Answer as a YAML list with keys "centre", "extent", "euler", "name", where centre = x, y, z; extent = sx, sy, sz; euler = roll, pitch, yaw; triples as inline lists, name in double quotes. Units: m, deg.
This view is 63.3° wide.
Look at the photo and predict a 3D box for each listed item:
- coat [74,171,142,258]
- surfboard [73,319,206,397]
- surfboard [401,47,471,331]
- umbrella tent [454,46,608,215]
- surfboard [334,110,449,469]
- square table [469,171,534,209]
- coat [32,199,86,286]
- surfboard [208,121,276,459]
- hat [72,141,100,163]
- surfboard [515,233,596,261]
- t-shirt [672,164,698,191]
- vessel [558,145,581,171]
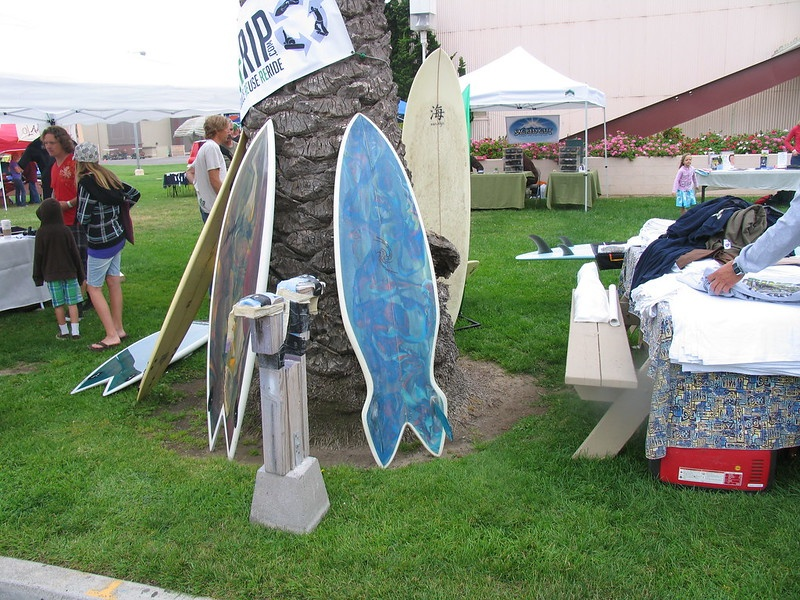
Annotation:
- centre: [-2.753, -0.895, 6.033]
  extent: [0.394, 0.483, 0.337]
  euler: [-18, 43, -17]
  name: "coat"
- centre: [-2.268, 0.518, 5.753]
  extent: [0.336, 0.133, 1.208]
  euler: [14, 20, 6]
  name: "surfboard"
- centre: [0.406, -1.249, 6.321]
  extent: [0.513, 3.023, 0.340]
  euler: [-4, 13, 0]
  name: "surfboard"
- centre: [2.935, -3.832, 13.846]
  extent: [3.030, 2.542, 3.152]
  euler: [4, 14, 31]
  name: "umbrella tent"
- centre: [-0.065, -0.098, 4.347]
  extent: [0.709, 2.096, 1.107]
  euler: [-2, 13, -6]
  name: "surfboard"
- centre: [2.180, -2.505, 14.066]
  extent: [0.890, 0.491, 0.942]
  euler: [3, 14, 15]
  name: "square table"
- centre: [-3.333, -0.416, 6.279]
  extent: [0.422, 1.168, 0.301]
  euler: [-7, 27, -28]
  name: "coat"
- centre: [-1.024, -0.009, 4.240]
  extent: [0.103, 2.424, 0.385]
  euler: [13, -13, -3]
  name: "surfboard"
- centre: [-2.860, -1.347, 5.912]
  extent: [0.202, 0.173, 0.205]
  euler: [21, 21, 39]
  name: "hat"
- centre: [1.666, -0.472, 6.584]
  extent: [0.618, 0.167, 0.386]
  euler: [-8, 23, -1]
  name: "surfboard"
- centre: [5.224, -2.194, 11.753]
  extent: [0.603, 0.449, 0.296]
  euler: [-9, 15, -31]
  name: "t-shirt"
- centre: [3.701, -3.073, 14.314]
  extent: [0.495, 0.808, 0.525]
  euler: [1, 6, 6]
  name: "vessel"
